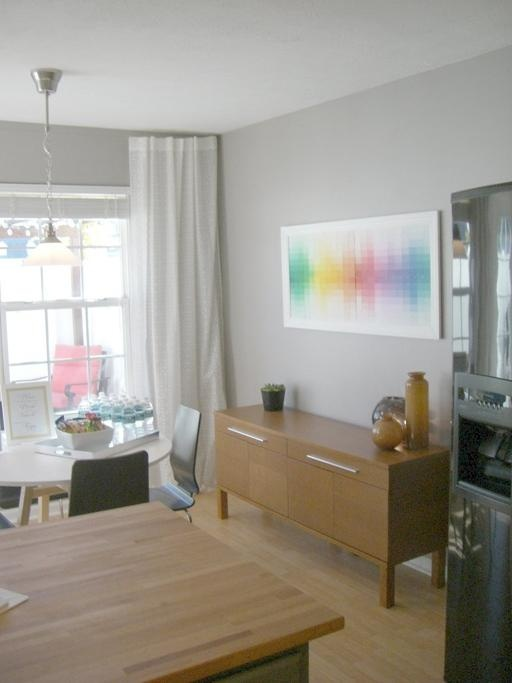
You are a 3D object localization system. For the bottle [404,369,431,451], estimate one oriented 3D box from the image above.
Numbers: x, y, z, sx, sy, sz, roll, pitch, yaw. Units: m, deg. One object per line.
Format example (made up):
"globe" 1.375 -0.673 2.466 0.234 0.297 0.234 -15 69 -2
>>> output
"bottle" 0.794 0.344 2.638 0.113 0.368 0.090 1 0 17

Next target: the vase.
"vase" 0.727 0.343 2.719 0.278 0.432 0.383 0 7 -13

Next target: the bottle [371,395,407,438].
"bottle" 0.692 0.386 2.754 0.150 0.177 0.144 5 11 23

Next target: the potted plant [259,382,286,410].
"potted plant" 0.118 0.377 3.681 0.158 0.196 0.162 -5 9 -31

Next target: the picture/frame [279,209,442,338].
"picture/frame" 0.583 -0.366 3.122 0.991 0.616 0.033 4 8 39

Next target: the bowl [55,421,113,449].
"bowl" -0.876 0.453 2.728 0.149 0.060 0.164 1 8 0

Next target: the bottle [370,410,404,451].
"bottle" 0.642 0.440 2.675 0.157 0.191 0.165 6 9 23

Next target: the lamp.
"lamp" -1.082 -0.864 2.743 0.306 0.893 0.318 -6 17 -37
